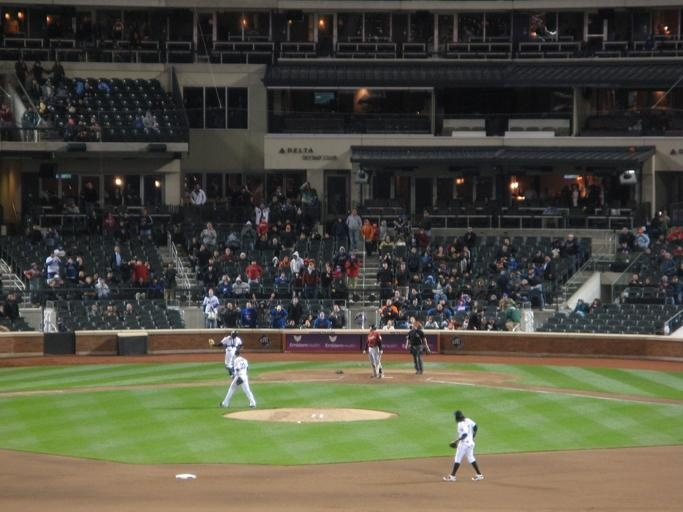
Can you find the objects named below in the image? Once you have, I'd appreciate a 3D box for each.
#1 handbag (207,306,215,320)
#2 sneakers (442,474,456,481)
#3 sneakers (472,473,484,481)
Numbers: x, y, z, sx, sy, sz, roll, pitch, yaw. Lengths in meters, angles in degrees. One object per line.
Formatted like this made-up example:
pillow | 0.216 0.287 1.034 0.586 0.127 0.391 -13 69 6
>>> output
handbag | -6.118 2.677 76.238 0.431 0.420 0.714 3 2 -9
sneakers | 3.899 8.052 59.230 0.430 0.243 0.189 3 6 10
sneakers | 4.944 8.011 59.149 0.422 0.223 0.194 0 4 13
